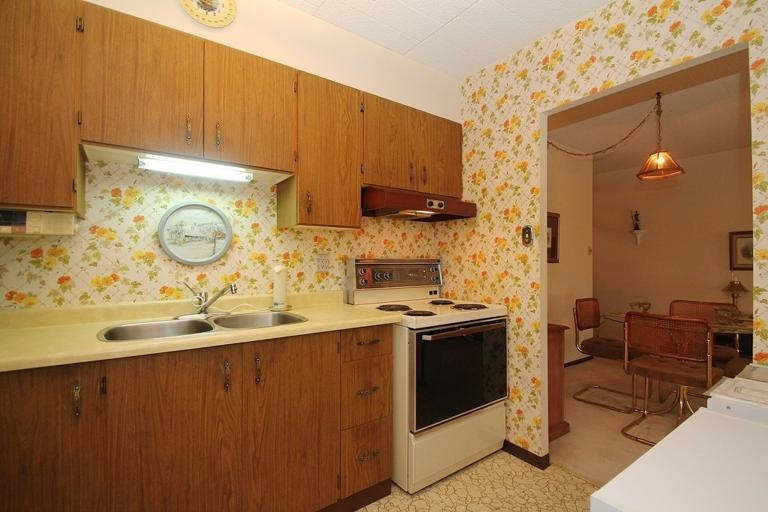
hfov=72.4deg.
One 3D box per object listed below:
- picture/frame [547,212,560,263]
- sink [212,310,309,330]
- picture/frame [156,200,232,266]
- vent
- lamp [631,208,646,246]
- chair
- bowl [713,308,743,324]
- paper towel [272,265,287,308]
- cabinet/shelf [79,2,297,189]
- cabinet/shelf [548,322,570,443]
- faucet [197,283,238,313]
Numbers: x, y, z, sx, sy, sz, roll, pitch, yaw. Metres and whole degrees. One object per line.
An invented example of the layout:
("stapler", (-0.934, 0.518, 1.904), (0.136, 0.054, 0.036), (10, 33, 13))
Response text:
("picture/frame", (1.914, -0.211, 5.895), (0.077, 0.576, 0.263), (-1, 1, 35))
("sink", (-0.902, 0.450, 3.702), (0.328, 0.112, 0.255), (-1, 3, -34))
("picture/frame", (-1.352, -0.164, 3.662), (0.502, 0.467, 0.064), (1, -5, -33))
("vent", (0.253, -0.433, 4.268), (0.954, 0.244, 0.496), (-2, 0, -37))
("lamp", (3.328, -0.387, 6.852), (0.089, 0.458, 0.142), (-2, 1, -4))
("chair", (2.443, 0.840, 4.618), (1.202, 0.793, 1.218), (-2, 1, -28))
("bowl", (3.108, 0.536, 4.710), (0.201, 0.068, 0.142), (0, 1, -12))
("paper towel", (-0.771, 0.230, 3.883), (0.111, 0.299, 0.159), (-1, 5, -13))
("cabinet/shelf", (-1.400, -1.065, 3.439), (1.484, 0.896, 0.736), (3, -6, -33))
("cabinet/shelf", (1.444, 1.045, 4.361), (0.302, 0.932, 0.088), (-3, 2, -44))
("faucet", (-1.164, 0.292, 3.657), (0.262, 0.167, 0.204), (-2, 0, -16))
